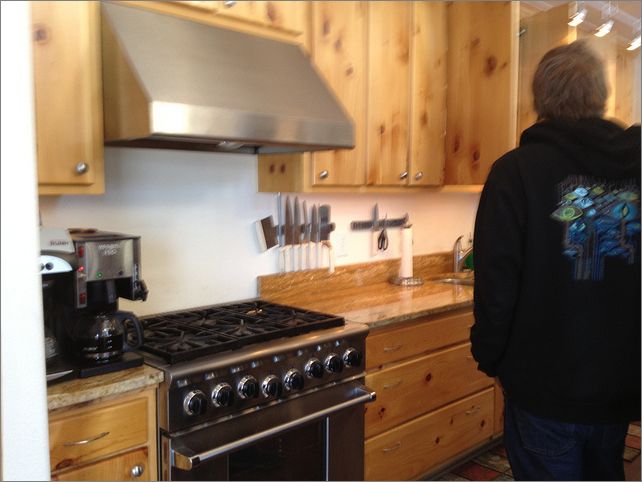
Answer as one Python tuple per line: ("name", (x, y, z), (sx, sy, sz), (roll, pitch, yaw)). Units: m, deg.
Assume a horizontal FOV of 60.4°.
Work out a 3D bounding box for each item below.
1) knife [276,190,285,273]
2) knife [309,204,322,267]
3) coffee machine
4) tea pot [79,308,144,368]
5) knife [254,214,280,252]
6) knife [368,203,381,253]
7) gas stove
("knife", (-0.210, -0.043, 2.835), (0.050, 0.360, 0.037), (-1, 3, -9))
("knife", (-0.032, -0.037, 2.922), (0.053, 0.323, 0.027), (1, 3, -2))
("coffee machine", (-0.796, 0.208, 1.910), (0.353, 0.432, 0.318), (-2, 0, 28))
("tea pot", (-0.726, 0.324, 1.891), (0.224, 0.154, 0.132), (-1, 1, -35))
("knife", (-0.272, -0.040, 2.769), (0.152, 0.163, 0.044), (-23, 19, -29))
("knife", (0.324, -0.069, 3.288), (0.059, 0.229, 0.068), (-4, 2, 21))
("gas stove", (-0.288, 0.477, 2.217), (0.880, 0.372, 0.467), (-7, 3, -37))
